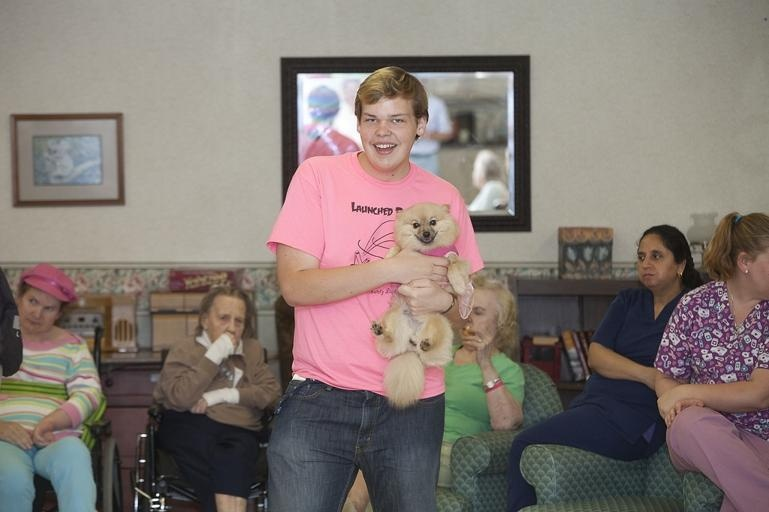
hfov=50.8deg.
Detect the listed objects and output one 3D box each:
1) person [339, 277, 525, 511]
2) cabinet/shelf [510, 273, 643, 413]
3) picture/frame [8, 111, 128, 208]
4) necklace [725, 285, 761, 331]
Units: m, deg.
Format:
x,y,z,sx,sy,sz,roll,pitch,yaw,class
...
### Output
x,y,z,sx,sy,sz,roll,pitch,yaw,class
0.100,0.785,5.324,1.055,1.461,1.479,-5,-12,31,person
1.397,0.651,5.956,0.813,0.881,0.284,-17,-8,-1,cabinet/shelf
-2.688,-0.836,6.872,0.778,0.688,0.075,-1,4,0,picture/frame
2.120,0.281,4.803,0.216,0.209,0.074,5,-5,-7,necklace
